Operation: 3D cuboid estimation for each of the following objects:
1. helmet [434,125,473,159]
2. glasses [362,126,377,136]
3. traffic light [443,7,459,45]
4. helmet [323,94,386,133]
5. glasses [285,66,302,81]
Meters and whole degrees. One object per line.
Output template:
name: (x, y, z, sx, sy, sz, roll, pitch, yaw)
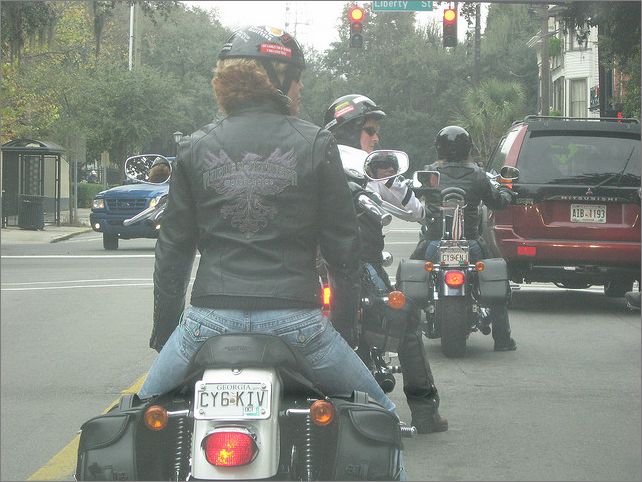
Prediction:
helmet: (1.350, -0.999, 9.702, 0.307, 0.313, 0.358, 6, 24, 7)
glasses: (0.352, -0.816, 7.180, 0.064, 0.071, 0.024, 0, 7, -6)
traffic light: (2.837, -4.672, 21.125, 0.286, 0.829, 0.795, 1, 7, 7)
helmet: (0.205, -0.981, 7.297, 0.477, 0.243, 0.353, -20, 2, 20)
glasses: (-0.153, -0.929, 5.353, 0.028, 0.089, 0.084, 13, 12, 15)
